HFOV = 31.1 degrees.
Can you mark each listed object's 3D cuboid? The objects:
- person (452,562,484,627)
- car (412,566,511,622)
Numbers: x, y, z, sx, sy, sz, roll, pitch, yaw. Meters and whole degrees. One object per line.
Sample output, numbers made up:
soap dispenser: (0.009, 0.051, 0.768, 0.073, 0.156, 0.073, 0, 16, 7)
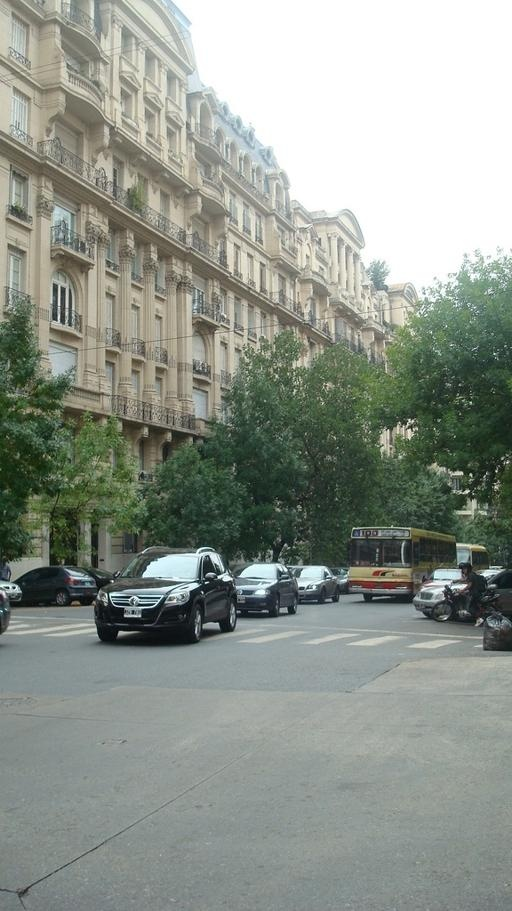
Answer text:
person: (5.208, 3.478, 22.660, 0.715, 1.827, 0.802, 0, 37, 21)
car: (5.411, 3.528, 24.975, 2.654, 1.358, 1.539, 10, -13, -32)
